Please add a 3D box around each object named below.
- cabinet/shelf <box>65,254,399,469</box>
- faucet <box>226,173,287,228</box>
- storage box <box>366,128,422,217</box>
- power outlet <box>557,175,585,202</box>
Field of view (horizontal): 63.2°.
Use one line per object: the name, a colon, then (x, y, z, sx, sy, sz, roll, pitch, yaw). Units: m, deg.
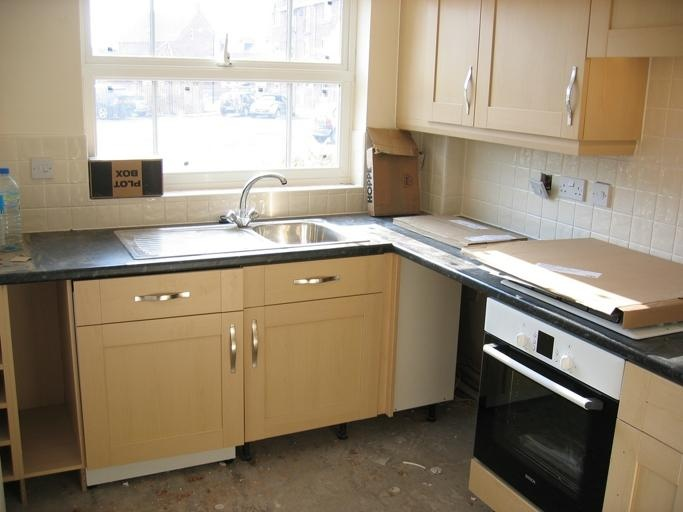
cabinet/shelf: (-0.570, 0.486, 2.659, 0.900, 0.606, 0.329, -5, 12, -22)
faucet: (-0.511, -0.329, 3.125, 0.337, 0.290, 0.493, -6, 17, -12)
storage box: (0.300, -0.510, 3.378, 0.434, 0.688, 0.214, -5, 11, -27)
power outlet: (1.132, -0.335, 2.742, 0.015, 0.092, 0.121, -8, 16, -25)
